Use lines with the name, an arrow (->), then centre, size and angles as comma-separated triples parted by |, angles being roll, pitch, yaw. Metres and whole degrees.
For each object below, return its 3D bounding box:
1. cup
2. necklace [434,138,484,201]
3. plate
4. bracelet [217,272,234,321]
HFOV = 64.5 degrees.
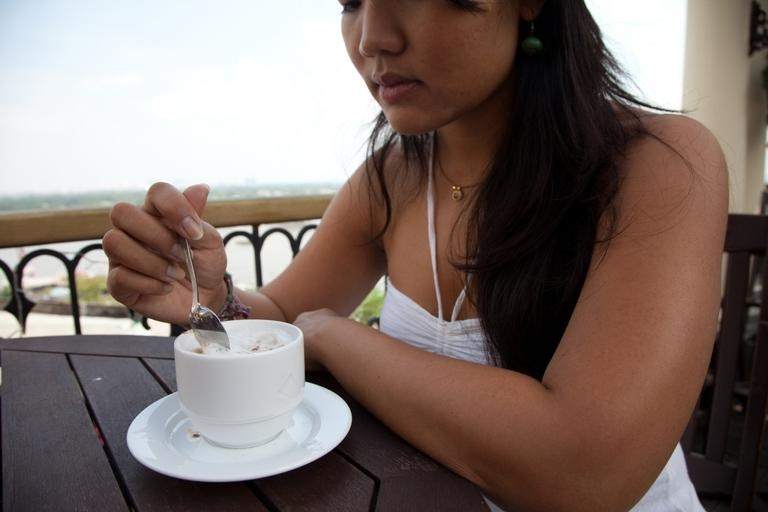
cup -> -0.347, 0.295, 1.527 | 0.276, 0.271, 0.329 | 1, 2, -23
necklace -> 0.250, -0.278, 1.955 | 0.112, 0.218, 0.031 | -3, 3, 4
plate -> -0.332, 0.437, 1.402 | 0.524, 0.153, 0.299 | -3, 8, -21
bracelet -> -0.488, 0.124, 1.910 | 0.050, 0.084, 0.116 | 6, 57, -17
